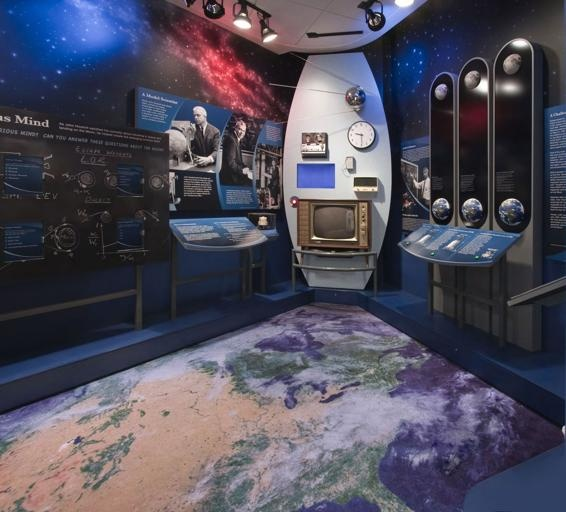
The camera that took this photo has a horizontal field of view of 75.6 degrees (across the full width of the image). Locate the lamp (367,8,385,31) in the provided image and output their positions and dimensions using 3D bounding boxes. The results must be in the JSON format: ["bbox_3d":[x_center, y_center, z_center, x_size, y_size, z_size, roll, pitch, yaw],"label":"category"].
[{"bbox_3d":[0.938,-2.467,3.803,0.210,0.180,0.146,7,14,31],"label":"lamp"}]

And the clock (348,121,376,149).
[{"bbox_3d":[0.979,-1.511,4.516,0.337,0.367,0.047,-1,1,14],"label":"clock"}]
